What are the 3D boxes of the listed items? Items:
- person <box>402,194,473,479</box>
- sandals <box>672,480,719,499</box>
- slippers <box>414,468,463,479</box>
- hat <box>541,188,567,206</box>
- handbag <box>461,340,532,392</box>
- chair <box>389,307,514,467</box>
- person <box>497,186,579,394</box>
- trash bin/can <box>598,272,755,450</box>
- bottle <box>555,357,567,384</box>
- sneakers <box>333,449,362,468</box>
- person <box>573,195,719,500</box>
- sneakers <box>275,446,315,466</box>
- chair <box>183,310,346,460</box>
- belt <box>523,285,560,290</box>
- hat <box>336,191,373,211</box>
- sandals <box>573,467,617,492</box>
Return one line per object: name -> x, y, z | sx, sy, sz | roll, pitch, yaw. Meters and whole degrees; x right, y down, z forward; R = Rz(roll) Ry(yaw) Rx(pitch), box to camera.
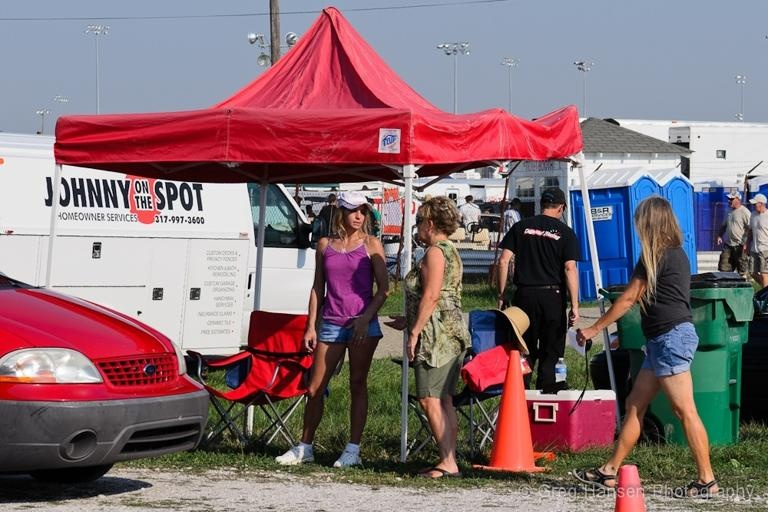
person -> 0.503, 0.712, 10.480 | 0.585, 2.497, 0.499 | 0, -3, -12
sandals -> 2.689, 1.967, 10.021 | 0.415, 0.167, 0.150 | 2, -2, 3
slippers -> 0.511, 1.937, 10.464 | 0.302, 0.086, 0.140 | 4, -3, 3
hat -> 1.823, -0.612, 12.272 | 0.239, 0.188, 0.394 | 4, 5, 20
handbag -> 1.018, 1.046, 10.996 | 0.513, 0.188, 0.392 | -16, 43, -14
chair -> 1.019, 1.238, 11.668 | 1.271, 1.722, 1.394 | 0, -3, 41
person -> 1.637, 0.401, 12.103 | 0.908, 2.067, 0.638 | 4, 7, 22
trash bin/can -> 3.154, 0.936, 11.782 | 1.146, 1.956, 2.559 | -1, 0, 3
bottle -> 1.811, 1.151, 11.837 | 0.078, 0.264, 0.273 | -2, -3, 18
sneakers -> -0.317, 1.877, 10.870 | 0.108, 0.132, 0.286 | -2, -4, 40
person -> 2.348, 0.769, 10.149 | 1.050, 2.569, 0.359 | -1, -3, 15
sneakers -> -0.815, 1.849, 10.898 | 0.344, 0.160, 0.149 | 1, -1, -15
chair -> -1.249, 1.225, 11.302 | 1.086, 1.285, 1.026 | 1, 0, 5
belt -> 1.627, 0.317, 11.780 | 0.306, 0.046, 0.080 | 0, -3, -14
hat -> -0.263, -0.508, 10.755 | 0.292, 0.183, 0.228 | -1, -3, -1
sandals -> 1.868, 1.942, 10.236 | 0.395, 0.178, 0.162 | 21, 6, 18
